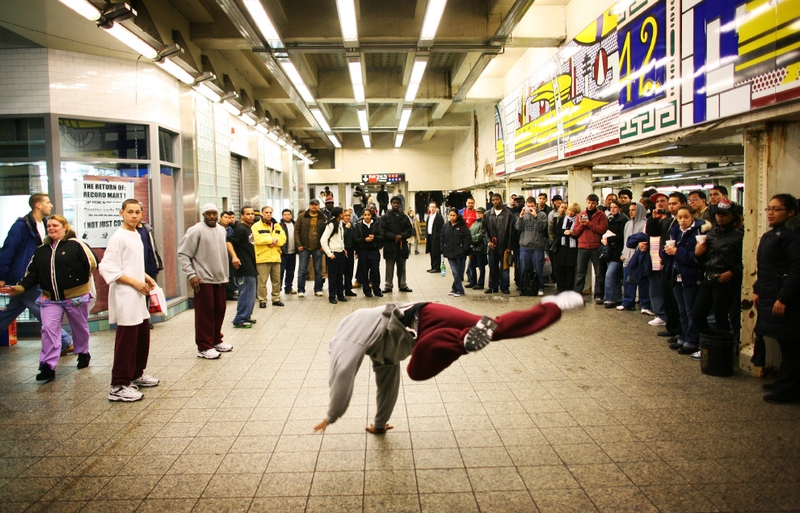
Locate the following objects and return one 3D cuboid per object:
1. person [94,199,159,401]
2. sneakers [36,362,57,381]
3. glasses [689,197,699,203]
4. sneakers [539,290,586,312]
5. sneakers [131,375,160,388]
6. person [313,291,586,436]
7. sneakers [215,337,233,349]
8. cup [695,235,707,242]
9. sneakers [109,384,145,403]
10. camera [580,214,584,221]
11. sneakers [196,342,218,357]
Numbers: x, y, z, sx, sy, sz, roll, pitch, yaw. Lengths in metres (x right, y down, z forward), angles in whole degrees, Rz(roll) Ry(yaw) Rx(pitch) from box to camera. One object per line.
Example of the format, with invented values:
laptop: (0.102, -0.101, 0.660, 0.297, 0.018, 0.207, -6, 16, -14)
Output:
person: (-3.514, 0.529, 6.999, 0.573, 2.494, 0.727, -2, 7, -5)
sneakers: (-4.787, 1.550, 7.356, 0.207, 0.262, 0.148, -7, 9, -34)
glasses: (4.347, -0.838, 8.097, 0.101, 0.052, 0.079, 5, -4, -45)
sneakers: (1.404, 0.371, 4.611, 0.308, 0.111, 0.185, 1, 2, 7)
sneakers: (-3.365, 1.666, 7.244, 0.354, 0.145, 0.129, 1, 2, -6)
person: (0.282, 1.003, 5.015, 2.147, 1.338, 0.485, 1, 8, 20)
sneakers: (-2.701, 1.384, 8.456, 0.309, 0.136, 0.125, 1, 3, 5)
cup: (4.170, -0.246, 7.543, 0.098, 0.068, 0.093, -2, -4, 0)
sneakers: (-3.446, 1.730, 6.931, 0.506, 0.224, 0.186, 1, 4, -2)
camera: (3.640, -0.776, 10.880, 0.133, 0.121, 0.091, 1, 8, 16)
sneakers: (-2.879, 1.427, 8.209, 0.345, 0.142, 0.151, 0, 1, 13)
